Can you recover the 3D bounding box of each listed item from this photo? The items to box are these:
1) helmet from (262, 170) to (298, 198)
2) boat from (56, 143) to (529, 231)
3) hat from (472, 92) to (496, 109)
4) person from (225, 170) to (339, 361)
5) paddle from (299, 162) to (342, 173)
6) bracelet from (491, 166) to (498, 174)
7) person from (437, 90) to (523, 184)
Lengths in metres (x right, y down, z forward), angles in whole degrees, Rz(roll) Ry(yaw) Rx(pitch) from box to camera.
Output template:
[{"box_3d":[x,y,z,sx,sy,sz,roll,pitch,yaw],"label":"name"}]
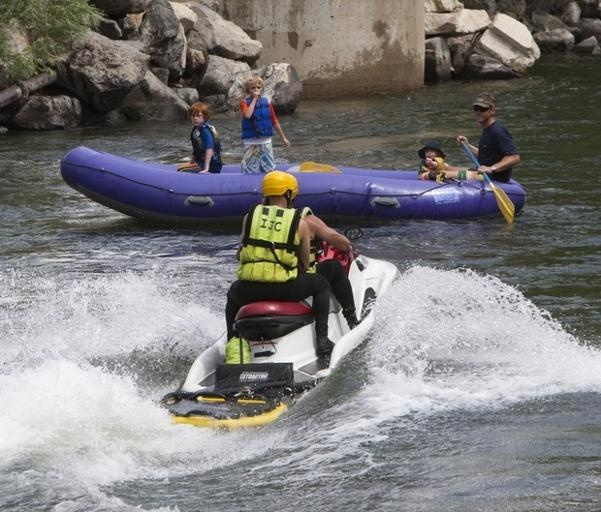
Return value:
[{"box_3d":[-0.150,-0.565,7.281,0.298,0.160,0.212,-6,12,-30],"label":"helmet"},{"box_3d":[-0.265,-0.767,11.557,4.182,0.441,1.904,2,-2,-3],"label":"boat"},{"box_3d":[2.226,-1.865,11.340,0.226,0.134,0.314,4,-2,27],"label":"hat"},{"box_3d":[-0.280,0.069,7.499,1.286,1.379,1.026,7,3,-10],"label":"person"},{"box_3d":[0.243,-1.138,11.896,0.412,0.094,0.230,1,-1,-7],"label":"paddle"},{"box_3d":[2.410,-1.070,11.569,0.033,0.067,0.066,8,-12,-19],"label":"bracelet"},{"box_3d":[2.140,-1.335,11.823,1.462,1.301,1.037,-2,14,7],"label":"person"}]
